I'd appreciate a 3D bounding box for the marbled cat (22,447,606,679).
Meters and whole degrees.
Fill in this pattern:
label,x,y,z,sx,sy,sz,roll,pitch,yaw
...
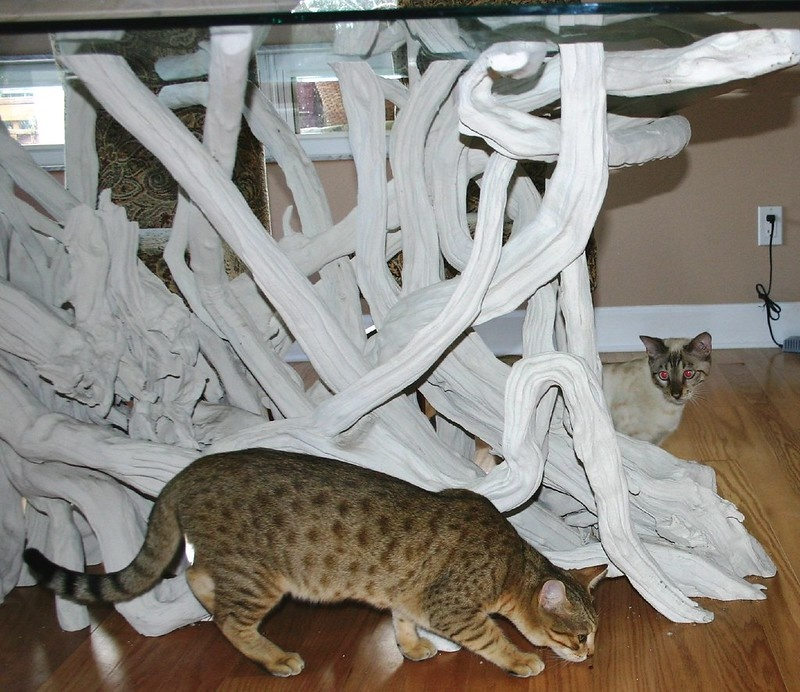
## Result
label,x,y,z,sx,sy,sz,roll,pitch,yaw
marbled cat,-0.145,0.389,1.314,0.969,0.356,0.198,10,10,-1

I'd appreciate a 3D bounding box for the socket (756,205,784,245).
label,x,y,z,sx,sy,sz,roll,pitch,yaw
socket,1.525,-0.489,3.073,0.102,0.164,0.045,-4,24,11
